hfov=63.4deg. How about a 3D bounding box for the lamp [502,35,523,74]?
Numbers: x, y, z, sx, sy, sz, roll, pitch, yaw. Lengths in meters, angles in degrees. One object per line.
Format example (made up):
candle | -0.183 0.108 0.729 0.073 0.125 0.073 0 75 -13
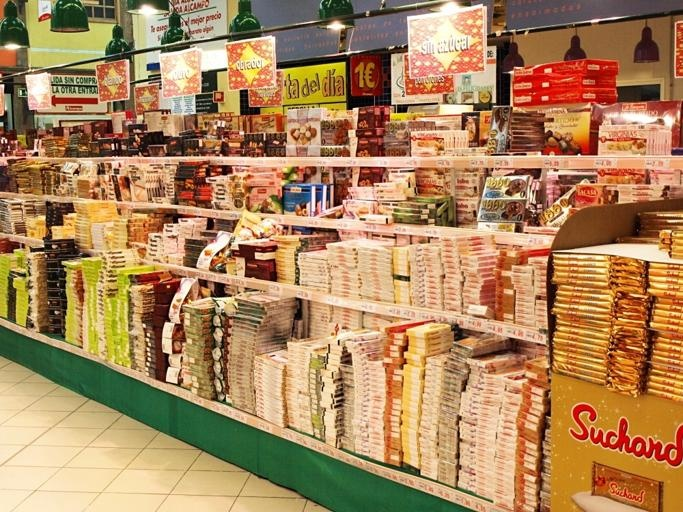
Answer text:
lamp | 2.658 -3.103 8.474 0.289 0.582 0.300 -2 -1 -10

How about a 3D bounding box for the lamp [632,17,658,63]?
lamp | 4.658 -3.211 8.331 0.303 0.556 0.388 3 11 32
